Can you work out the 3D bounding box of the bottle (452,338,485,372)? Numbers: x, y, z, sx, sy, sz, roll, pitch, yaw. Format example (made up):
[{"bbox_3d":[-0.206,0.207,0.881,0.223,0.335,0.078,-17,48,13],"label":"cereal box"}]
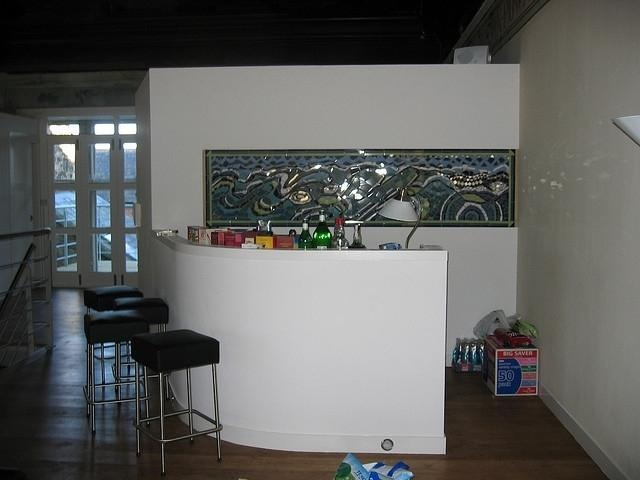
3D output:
[{"bbox_3d":[1.466,1.147,5.319,0.271,0.428,0.295,0,1,0],"label":"bottle"}]

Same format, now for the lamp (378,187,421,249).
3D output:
[{"bbox_3d":[0.630,-0.110,4.098,0.330,0.549,0.325,11,10,22],"label":"lamp"}]

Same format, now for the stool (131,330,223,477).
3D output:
[{"bbox_3d":[-1.111,1.065,3.916,0.614,0.932,1.033,-5,9,-33],"label":"stool"}]
